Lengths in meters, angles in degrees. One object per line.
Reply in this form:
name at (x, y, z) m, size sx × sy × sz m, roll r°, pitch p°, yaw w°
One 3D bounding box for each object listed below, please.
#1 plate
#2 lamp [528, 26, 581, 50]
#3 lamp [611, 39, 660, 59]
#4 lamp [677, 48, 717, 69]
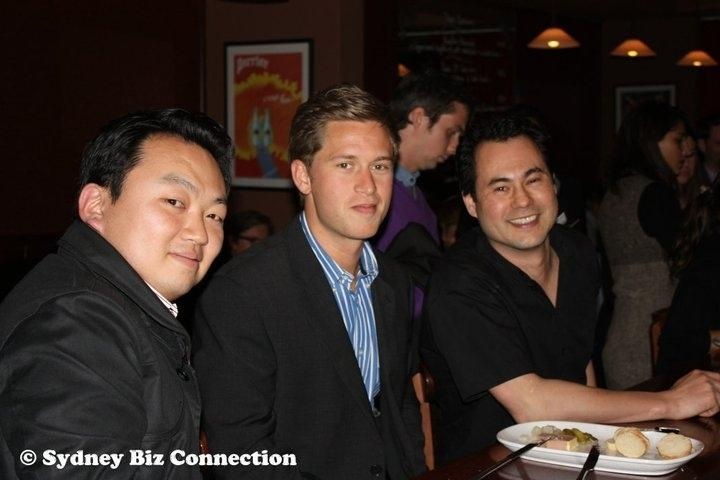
plate at (0.696, 0.650, 1.876) m, size 0.380 × 0.036 × 0.235 m, roll 0°, pitch 2°, yaw 22°
lamp at (1.836, -1.980, 5.840) m, size 0.386 × 0.256 × 0.366 m, roll -4°, pitch 7°, yaw -16°
lamp at (2.779, -1.976, 6.180) m, size 0.416 × 0.209 × 0.133 m, roll 0°, pitch 8°, yaw 19°
lamp at (3.340, -1.792, 6.007) m, size 0.224 × 0.088 × 0.218 m, roll -8°, pitch 10°, yaw -37°
